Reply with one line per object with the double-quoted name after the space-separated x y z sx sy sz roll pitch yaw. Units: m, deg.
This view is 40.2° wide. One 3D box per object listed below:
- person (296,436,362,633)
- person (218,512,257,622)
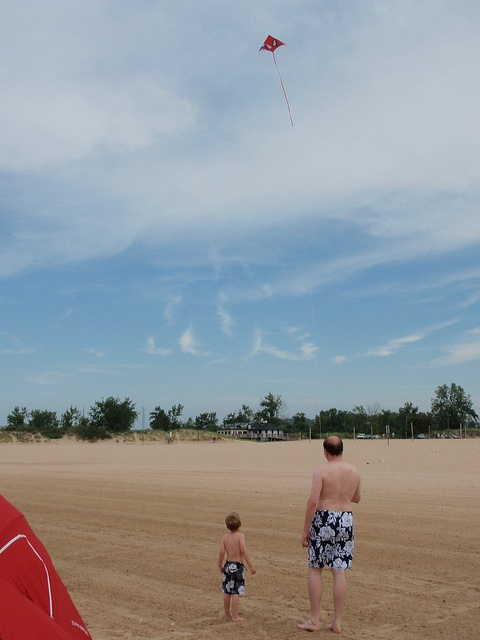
0.892 2.140 6.612 0.617 1.913 0.403 0 -8 5 "person"
-0.058 2.613 6.987 0.341 1.074 0.554 2 -8 -5 "person"
